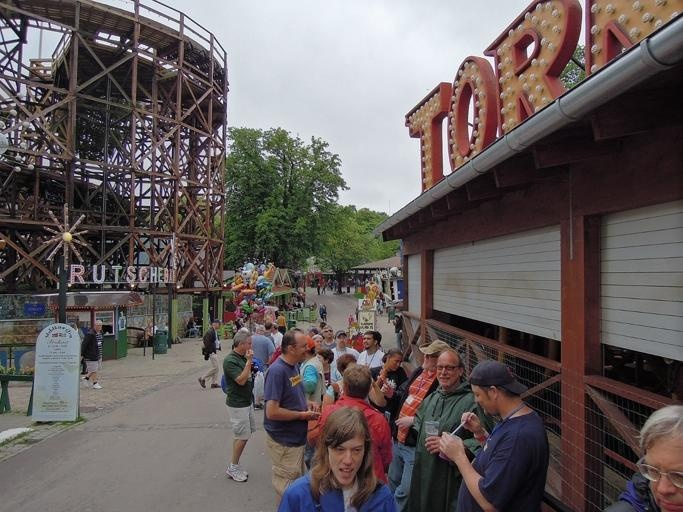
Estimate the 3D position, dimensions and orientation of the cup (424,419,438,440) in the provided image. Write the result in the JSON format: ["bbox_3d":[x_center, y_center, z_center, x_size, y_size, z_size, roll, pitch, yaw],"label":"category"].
[{"bbox_3d":[0.870,1.659,4.928,0.124,0.148,0.242,-1,-2,9],"label":"cup"}]

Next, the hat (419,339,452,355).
[{"bbox_3d":[1.114,1.083,6.100,0.280,0.109,0.201,-2,0,-4],"label":"hat"}]

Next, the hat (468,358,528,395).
[{"bbox_3d":[1.383,1.054,4.550,0.412,0.212,0.273,0,1,19],"label":"hat"}]

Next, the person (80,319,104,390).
[{"bbox_3d":[-6.978,2.779,14.430,0.473,1.660,2.024,0,-2,-25],"label":"person"}]

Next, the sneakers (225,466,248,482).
[{"bbox_3d":[-1.569,3.228,7.702,0.291,0.158,0.168,4,-1,17],"label":"sneakers"}]

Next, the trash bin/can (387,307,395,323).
[{"bbox_3d":[3.111,3.731,31.908,0.587,0.956,0.631,1,0,2],"label":"trash bin/can"}]

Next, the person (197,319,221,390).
[{"bbox_3d":[-3.577,2.678,14.013,0.507,1.678,2.040,-1,-2,-13],"label":"person"}]

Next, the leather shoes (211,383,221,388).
[{"bbox_3d":[-3.318,3.427,13.603,0.286,0.129,0.112,0,-4,-2],"label":"leather shoes"}]

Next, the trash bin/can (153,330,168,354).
[{"bbox_3d":[-7.440,3.537,21.239,0.463,0.886,0.706,-1,-1,-14],"label":"trash bin/can"}]
